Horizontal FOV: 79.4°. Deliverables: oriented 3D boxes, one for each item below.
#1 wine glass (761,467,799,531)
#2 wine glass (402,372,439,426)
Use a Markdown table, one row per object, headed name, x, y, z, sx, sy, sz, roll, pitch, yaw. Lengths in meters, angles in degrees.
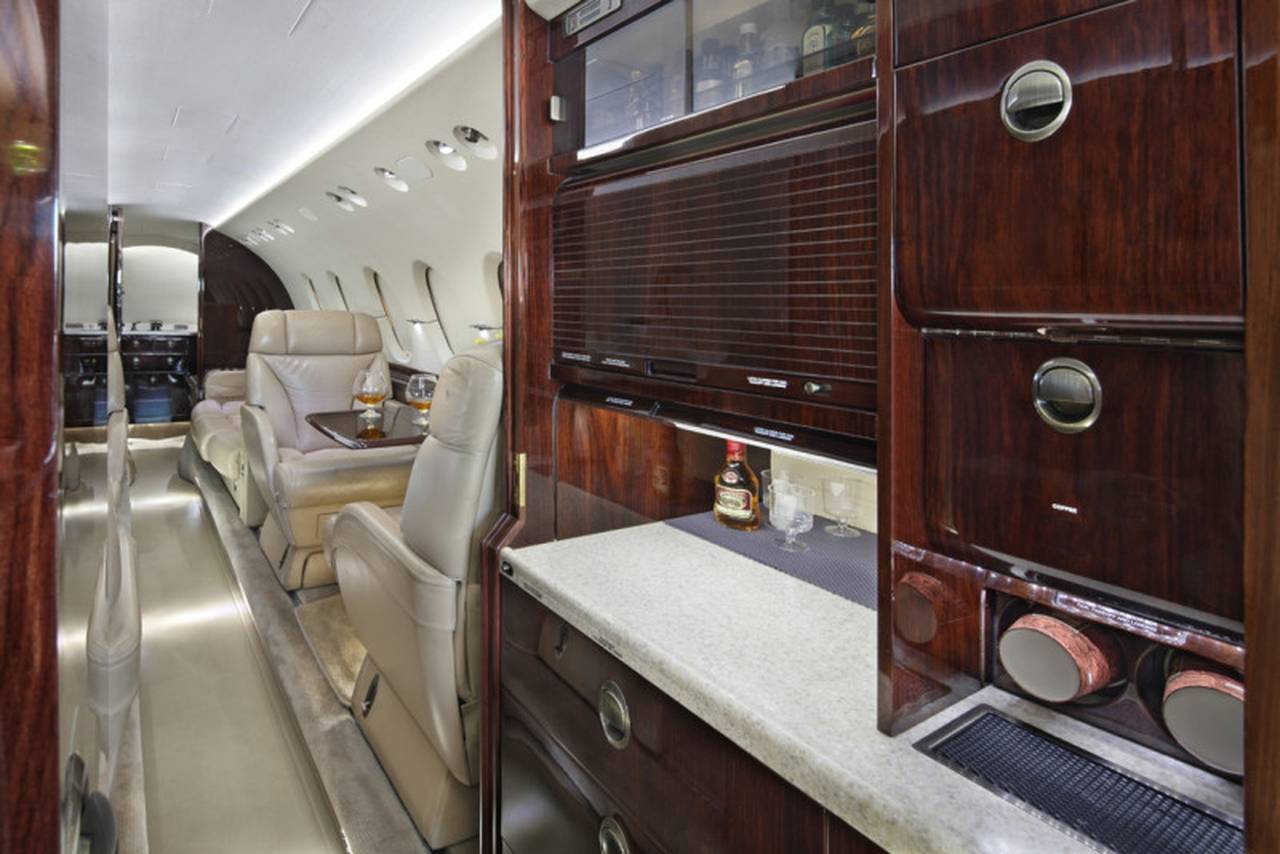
| name | x | y | z | sx | sy | sz | roll | pitch | yaw |
| --- | --- | --- | --- | --- | --- | --- | --- | --- | --- |
| wine glass | 0.375 | 0.186 | 2.051 | 0.115 | 0.210 | 0.141 | -1 | 2 | 11 |
| wine glass | -1.248 | -0.161 | 4.449 | 0.191 | 0.305 | 0.202 | 11 | 20 | 16 |
